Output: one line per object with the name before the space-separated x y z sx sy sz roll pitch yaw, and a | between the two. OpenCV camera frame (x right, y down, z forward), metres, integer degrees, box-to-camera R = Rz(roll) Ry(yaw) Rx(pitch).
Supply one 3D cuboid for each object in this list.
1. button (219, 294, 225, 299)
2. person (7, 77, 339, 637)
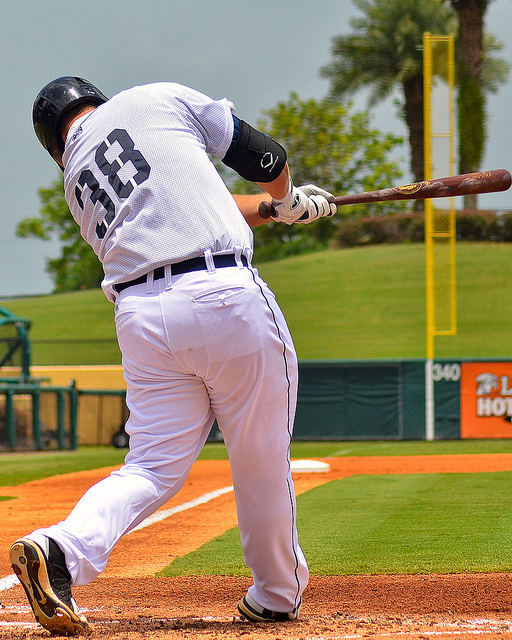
button | -0.116 -0.082 4.446 0.020 0.017 0.007 7 4 7
person | -0.280 0.134 4.649 1.067 1.950 0.638 -5 5 -3
